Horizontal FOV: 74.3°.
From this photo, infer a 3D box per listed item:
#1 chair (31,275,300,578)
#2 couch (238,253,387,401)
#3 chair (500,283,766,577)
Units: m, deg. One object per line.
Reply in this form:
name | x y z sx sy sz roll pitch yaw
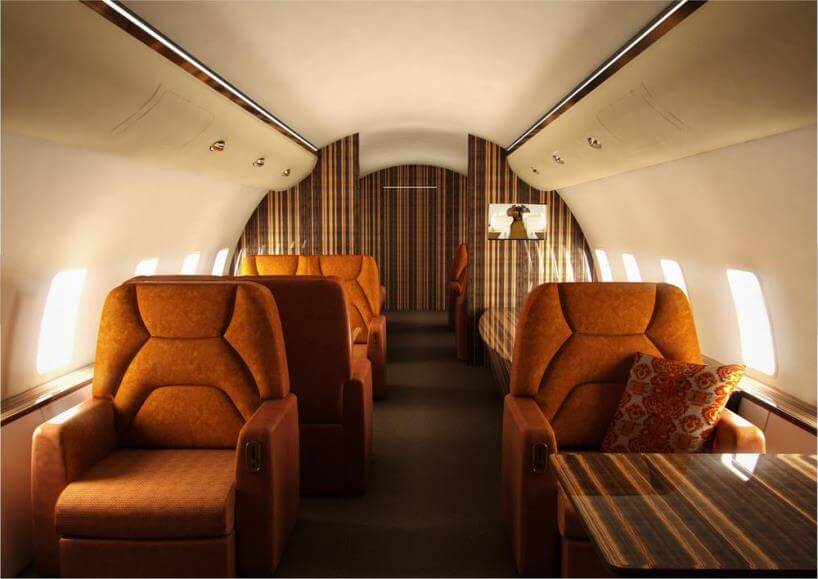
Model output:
chair | -1.216 0.725 3.133 1.576 1.914 1.303 0 -2 -2
couch | -0.893 0.085 5.432 1.693 1.699 1.220 1 -1 4
chair | 0.899 0.650 3.254 1.304 1.940 1.436 0 1 6
